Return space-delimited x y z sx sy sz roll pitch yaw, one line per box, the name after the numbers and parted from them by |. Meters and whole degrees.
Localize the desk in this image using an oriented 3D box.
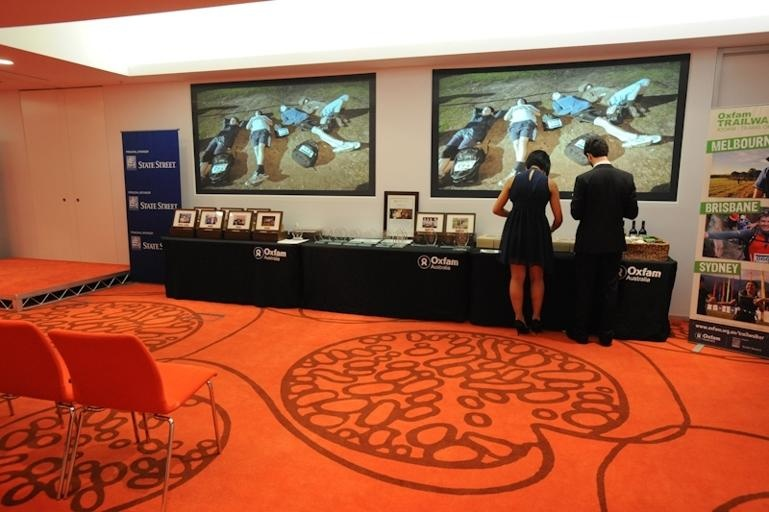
0.081 0.387 7.577 6.439 0.945 0.799 5 -18 -21 | desk

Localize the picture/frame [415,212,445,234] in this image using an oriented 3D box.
0.654 -0.482 7.202 0.353 0.224 0.026 1 -11 13 | picture/frame

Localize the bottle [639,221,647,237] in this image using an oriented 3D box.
3.479 -0.391 6.691 0.087 0.187 0.354 5 9 28 | bottle

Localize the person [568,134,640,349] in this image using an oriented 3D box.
2.624 -0.191 6.062 0.699 2.535 0.456 4 10 23 | person

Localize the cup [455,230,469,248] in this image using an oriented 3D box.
1.097 -0.231 7.022 0.206 0.206 0.199 -1 8 0 | cup

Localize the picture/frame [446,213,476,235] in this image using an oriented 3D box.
1.072 -0.461 7.086 0.346 0.245 0.027 2 -10 9 | picture/frame

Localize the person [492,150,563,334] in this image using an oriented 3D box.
1.806 -0.180 6.347 0.811 2.311 0.494 3 9 14 | person

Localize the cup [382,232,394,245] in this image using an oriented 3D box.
0.034 -0.261 7.312 0.172 0.094 0.160 -2 10 0 | cup

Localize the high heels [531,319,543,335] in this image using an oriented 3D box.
1.951 0.906 6.360 0.118 0.196 0.101 4 -7 4 | high heels

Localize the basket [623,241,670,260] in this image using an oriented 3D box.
3.223 -0.071 6.138 0.352 0.106 0.346 5 12 35 | basket
